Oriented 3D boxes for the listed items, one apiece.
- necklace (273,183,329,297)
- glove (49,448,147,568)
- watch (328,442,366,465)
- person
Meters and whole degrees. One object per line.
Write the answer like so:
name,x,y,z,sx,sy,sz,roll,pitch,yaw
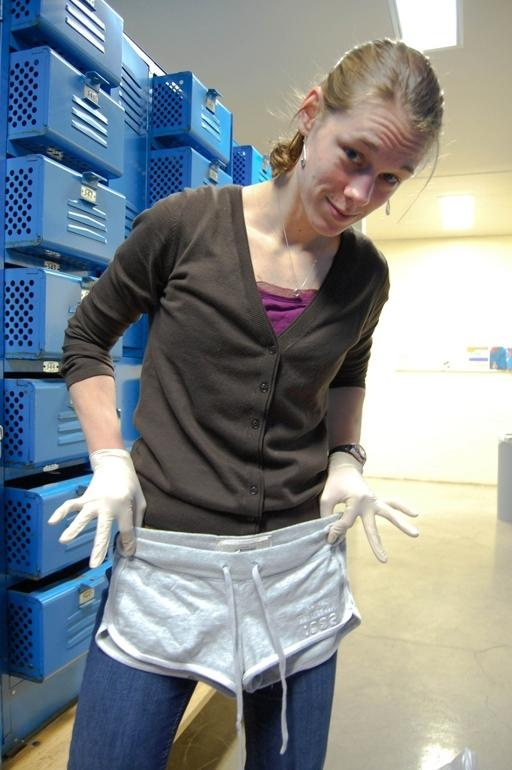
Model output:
necklace,0.046,-0.206,0.866,0.038,0.146,0.111,-6,-6,36
glove,-0.193,0.171,0.746,0.117,0.155,0.043,14,-30,-18
watch,0.172,0.120,1.062,0.044,0.025,0.043,-5,-2,42
person,0.000,-0.096,0.858,0.531,0.750,0.368,2,1,-16
